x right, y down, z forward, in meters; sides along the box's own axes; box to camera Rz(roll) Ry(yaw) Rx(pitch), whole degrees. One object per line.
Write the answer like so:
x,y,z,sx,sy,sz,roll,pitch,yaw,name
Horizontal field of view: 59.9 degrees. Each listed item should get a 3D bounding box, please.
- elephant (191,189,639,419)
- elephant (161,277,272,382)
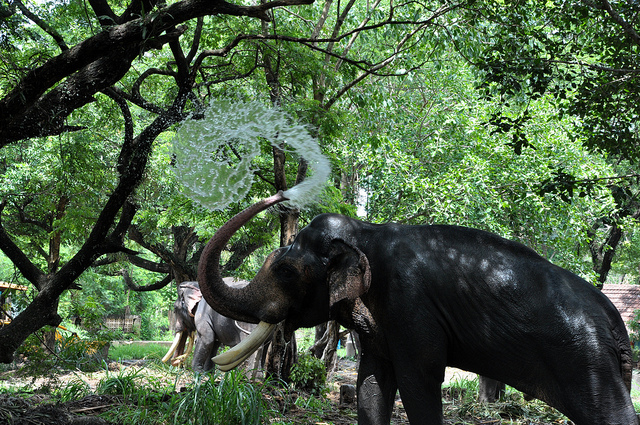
1.395,1.437,6.720,5.217,2.949,2.059,3,-31,8,elephant
-2.271,2.505,12.165,3.015,1.900,1.398,-5,-11,33,elephant
